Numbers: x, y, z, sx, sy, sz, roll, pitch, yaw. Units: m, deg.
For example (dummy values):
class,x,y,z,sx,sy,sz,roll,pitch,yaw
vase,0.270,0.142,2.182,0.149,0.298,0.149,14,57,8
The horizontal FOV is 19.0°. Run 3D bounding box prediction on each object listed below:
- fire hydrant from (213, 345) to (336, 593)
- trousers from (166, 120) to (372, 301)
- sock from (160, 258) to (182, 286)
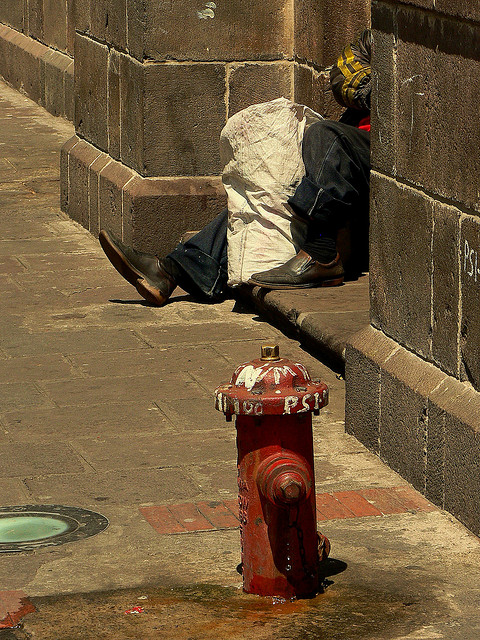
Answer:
class,x,y,z,sx,sy,sz,roll,pitch,yaw
fire hydrant,0.118,0.412,3.882,0.410,0.721,0.358,0,13,11
trousers,0.214,-0.498,7.049,0.516,0.981,1.046,-11,17,-38
sock,-0.356,-0.259,7.407,0.058,0.172,0.073,-40,23,18
